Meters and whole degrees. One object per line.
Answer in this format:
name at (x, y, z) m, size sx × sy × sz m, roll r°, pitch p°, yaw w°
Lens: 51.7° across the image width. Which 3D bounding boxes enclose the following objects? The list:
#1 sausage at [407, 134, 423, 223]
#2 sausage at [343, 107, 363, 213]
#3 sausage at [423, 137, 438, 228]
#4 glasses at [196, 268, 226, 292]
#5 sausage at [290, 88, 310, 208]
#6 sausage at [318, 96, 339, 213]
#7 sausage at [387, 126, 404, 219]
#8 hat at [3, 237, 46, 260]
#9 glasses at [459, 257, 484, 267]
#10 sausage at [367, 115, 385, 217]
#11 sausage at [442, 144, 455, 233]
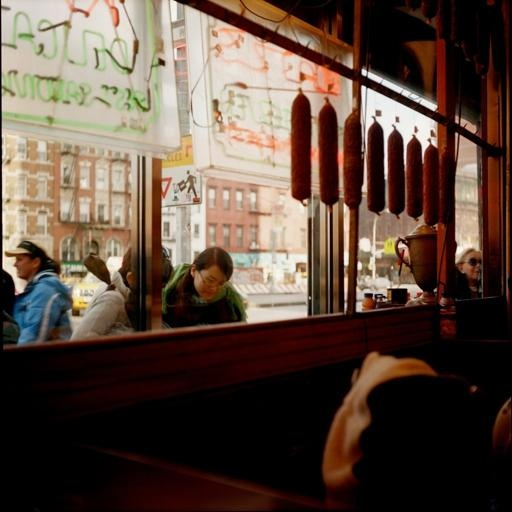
sausage at (0.581, -0.286, 1.939) m, size 0.090 × 0.309 × 0.051 m, roll -2°, pitch 1°, yaw -39°
sausage at (0.293, -0.291, 1.599) m, size 0.057 × 0.295 × 0.082 m, roll -1°, pitch 1°, yaw 34°
sausage at (0.674, -0.287, 2.046) m, size 0.057 × 0.330 × 0.143 m, roll -1°, pitch 1°, yaw 20°
glasses at (-0.220, 0.118, 2.619) m, size 0.106 × 0.042 × 0.110 m, roll 19°, pitch -39°, yaw -39°
sausage at (0.123, -0.304, 1.470) m, size 0.055 × 0.303 × 0.032 m, roll -1°, pitch 1°, yaw -1°
sausage at (0.207, -0.298, 1.519) m, size 0.055 × 0.292 × 0.046 m, roll -1°, pitch 1°, yaw 4°
sausage at (0.480, -0.289, 1.820) m, size 0.053 × 0.319 × 0.052 m, roll 1°, pitch 6°, yaw 42°
hat at (-0.986, -0.024, 2.258) m, size 0.110 × 0.058 × 0.083 m, roll 5°, pitch -8°, yaw -11°
glasses at (1.607, 0.042, 3.980) m, size 0.129 × 0.100 × 0.059 m, roll -2°, pitch 1°, yaw 7°
sausage at (0.387, -0.296, 1.715) m, size 0.053 × 0.311 × 0.109 m, roll -1°, pitch 1°, yaw 14°
sausage at (0.799, -0.277, 2.214) m, size 0.057 × 0.332 × 0.054 m, roll 4°, pitch -5°, yaw -41°
